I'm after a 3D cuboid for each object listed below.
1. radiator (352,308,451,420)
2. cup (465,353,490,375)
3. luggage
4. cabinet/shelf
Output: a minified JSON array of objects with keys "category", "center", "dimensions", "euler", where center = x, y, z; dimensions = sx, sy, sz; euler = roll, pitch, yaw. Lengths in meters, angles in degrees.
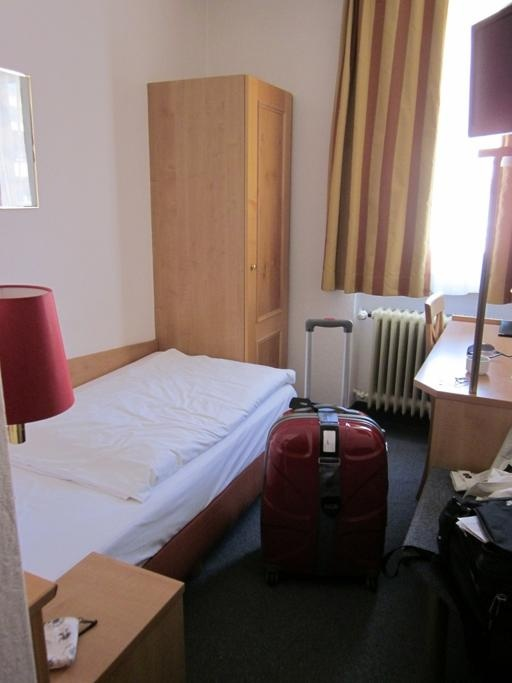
[{"category":"radiator","center":[0.875,0.119,3.221],"dimensions":[0.477,0.680,0.217],"euler":[4,8,22]},{"category":"cup","center":[0.863,0.093,2.024],"dimensions":[0.090,0.073,0.072],"euler":[6,8,42]},{"category":"luggage","center":[0.237,0.440,1.777],"dimensions":[0.309,0.717,0.354],"euler":[5,11,5]},{"category":"cabinet/shelf","center":[-0.229,-0.630,3.135],"dimensions":[0.484,2.322,0.890],"euler":[5,14,19]}]
